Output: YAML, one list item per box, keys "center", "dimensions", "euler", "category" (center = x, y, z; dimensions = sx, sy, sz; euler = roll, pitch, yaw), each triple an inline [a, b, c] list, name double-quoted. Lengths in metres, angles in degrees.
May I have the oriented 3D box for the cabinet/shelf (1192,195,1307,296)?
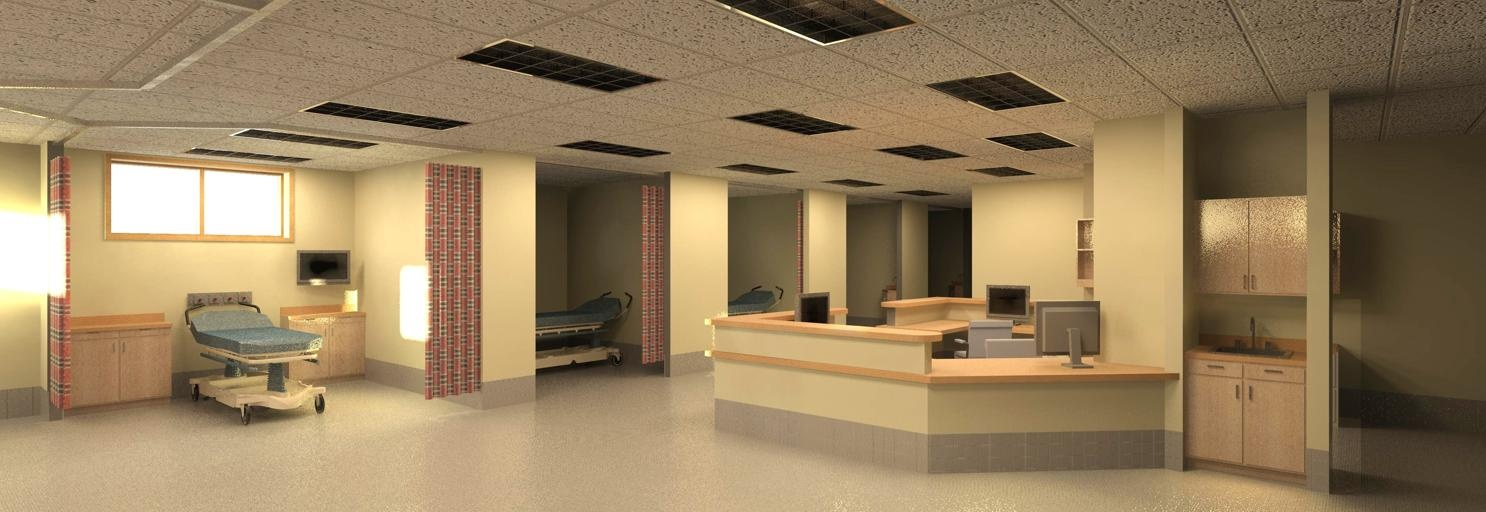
- center: [11.335, -0.183, 15.950]
  dimensions: [1.508, 2.047, 2.929]
  euler: [-2, 2, -4]
  category: "cabinet/shelf"

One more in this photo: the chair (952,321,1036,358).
- center: [5.984, 2.034, 17.488]
  dimensions: [1.936, 1.106, 1.266]
  euler: [0, 1, 1]
  category: "chair"

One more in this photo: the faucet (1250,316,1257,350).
- center: [11.000, 1.612, 16.129]
  dimensions: [0.175, 0.621, 0.106]
  euler: [-1, 4, -8]
  category: "faucet"

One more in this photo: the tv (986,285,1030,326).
- center: [6.628, 1.269, 19.523]
  dimensions: [1.773, 0.995, 0.498]
  euler: [6, -8, -35]
  category: "tv"

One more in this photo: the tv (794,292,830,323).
- center: [1.600, 1.212, 17.292]
  dimensions: [1.039, 0.592, 0.460]
  euler: [7, -9, -39]
  category: "tv"

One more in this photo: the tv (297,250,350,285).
- center: [-10.858, 0.274, 19.298]
  dimensions: [1.688, 0.746, 0.176]
  euler: [0, 1, -21]
  category: "tv"

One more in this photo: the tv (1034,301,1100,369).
- center: [6.939, 1.639, 16.037]
  dimensions: [1.287, 1.382, 0.382]
  euler: [1, 4, 12]
  category: "tv"

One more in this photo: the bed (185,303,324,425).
- center: [-11.650, 2.513, 17.997]
  dimensions: [3.028, 2.608, 1.702]
  euler: [2, 4, 37]
  category: "bed"

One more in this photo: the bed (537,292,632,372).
- center: [-4.623, 2.052, 20.897]
  dimensions: [2.598, 2.060, 1.143]
  euler: [-2, 4, -33]
  category: "bed"
